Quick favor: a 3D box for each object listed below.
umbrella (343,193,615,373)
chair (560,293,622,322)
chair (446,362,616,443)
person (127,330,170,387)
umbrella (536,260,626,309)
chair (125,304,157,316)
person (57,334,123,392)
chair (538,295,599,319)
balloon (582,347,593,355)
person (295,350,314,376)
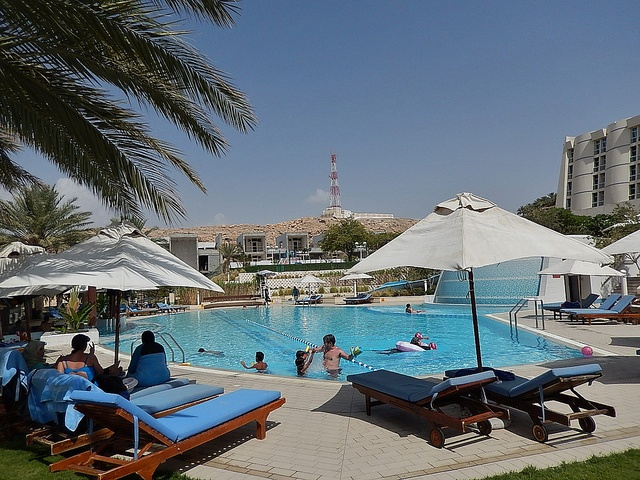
[{"bbox_3d":[3.117,-0.010,8.148,4.179,2.248,4.026,-7,4,-40],"label":"umbrella"},{"bbox_3d":[11.368,2.766,18.577,2.452,0.733,1.176,0,-5,0],"label":"chair"},{"bbox_3d":[3.586,2.468,7.247,1.207,1.146,1.405,0,-3,-30],"label":"chair"},{"bbox_3d":[-3.311,2.149,8.420,0.947,0.832,1.053,3,-3,-27],"label":"person"},{"bbox_3d":[13.068,2.272,22.434,4.953,2.357,4.214,-1,-4,10],"label":"umbrella"},{"bbox_3d":[-12.613,4.841,31.209,2.158,0.572,0.912,-2,-3,20],"label":"chair"},{"bbox_3d":[-3.973,2.011,7.604,0.777,0.780,1.345,1,-5,-15],"label":"person"},{"bbox_3d":[11.293,2.891,20.413,3.404,1.167,1.479,0,-4,1],"label":"chair"},{"bbox_3d":[7.391,3.063,12.508,0.227,0.199,0.275,16,11,39],"label":"balloon"},{"bbox_3d":[-0.474,3.568,12.964,0.419,0.808,0.999,-2,-3,-4],"label":"person"}]
